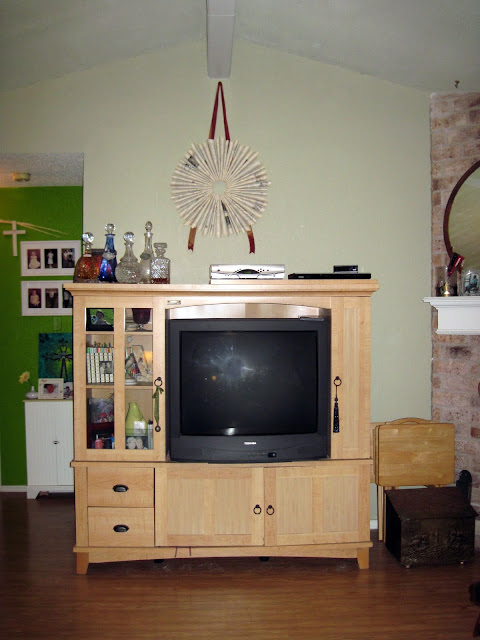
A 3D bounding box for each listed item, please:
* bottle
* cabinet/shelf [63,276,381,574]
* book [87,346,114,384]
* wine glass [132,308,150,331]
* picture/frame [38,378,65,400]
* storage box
[{"bbox_3d":[-0.647,-0.368,3.834,0.495,0.325,0.435,-2,8,-13],"label":"bottle"},{"bbox_3d":[-0.098,0.557,3.679,1.534,1.420,0.473,0,-4,-2],"label":"cabinet/shelf"},{"bbox_3d":[-0.730,0.232,3.687,0.173,0.245,0.180,0,1,-1],"label":"book"},{"bbox_3d":[-0.509,0.000,3.717,0.113,0.134,0.103,1,-9,-2],"label":"wine glass"},{"bbox_3d":[-1.337,0.497,5.025,0.124,0.134,0.013,-7,-26,-12],"label":"picture/frame"},{"bbox_3d":[1.002,1.107,3.751,0.535,0.393,0.342,-1,-1,-2],"label":"storage box"}]
